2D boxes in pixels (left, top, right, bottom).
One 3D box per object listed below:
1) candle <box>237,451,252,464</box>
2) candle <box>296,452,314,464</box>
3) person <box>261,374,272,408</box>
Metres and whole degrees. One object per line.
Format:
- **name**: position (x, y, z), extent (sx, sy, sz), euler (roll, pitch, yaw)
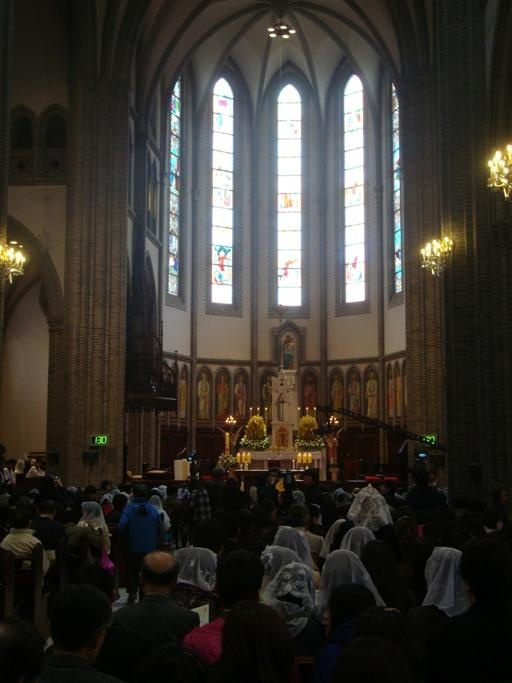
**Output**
- **candle**: position (-0.341, 3.591, 22.692), extent (0.394, 0.338, 0.389), euler (2, -7, -22)
- **candle**: position (1.531, 3.607, 22.723), extent (0.357, 0.360, 0.111), euler (-1, -5, 35)
- **person**: position (0.418, 2.164, 32.196), extent (0.412, 1.472, 0.239), euler (0, -6, 2)
